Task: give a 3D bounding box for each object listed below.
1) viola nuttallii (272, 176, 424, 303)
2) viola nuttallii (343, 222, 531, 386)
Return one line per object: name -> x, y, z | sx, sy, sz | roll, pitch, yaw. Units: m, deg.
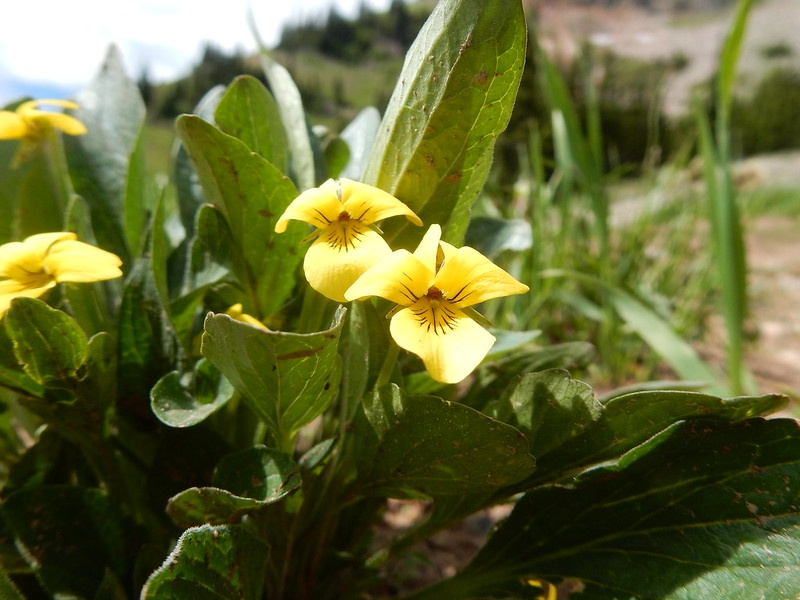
viola nuttallii -> -0.090, -0.113, 1.216 | 0.206, 0.062, 0.216 | -16, 19, -27
viola nuttallii -> 0.051, -0.002, 1.083 | 0.219, 0.178, 0.147 | 5, 17, 22
